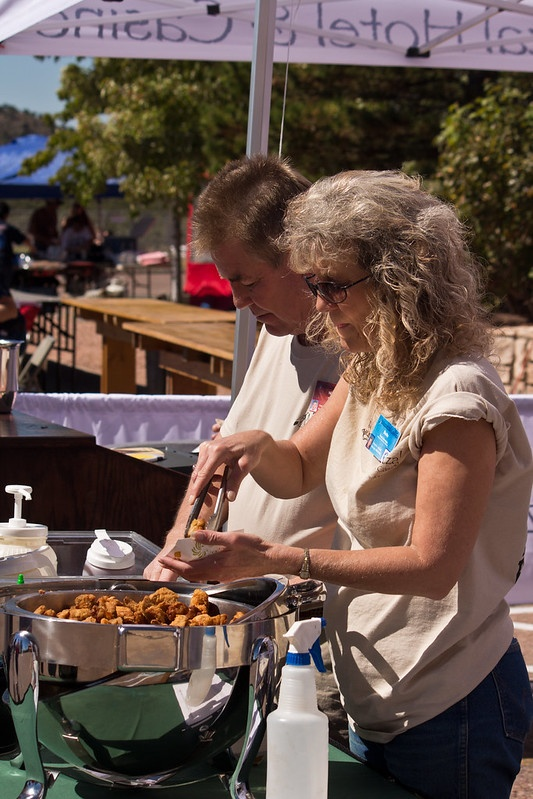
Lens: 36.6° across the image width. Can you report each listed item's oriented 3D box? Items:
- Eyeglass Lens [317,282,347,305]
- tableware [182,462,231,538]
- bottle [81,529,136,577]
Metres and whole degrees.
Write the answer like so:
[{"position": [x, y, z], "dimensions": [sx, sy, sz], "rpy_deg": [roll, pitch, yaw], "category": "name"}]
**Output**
[{"position": [0.096, -0.156, 1.170], "dimensions": [0.039, 0.011, 0.035], "rpy_deg": [4, 14, -31], "category": "Eyeglass Lens"}, {"position": [-0.100, 0.182, 1.383], "dimensions": [0.054, 0.043, 0.163], "rpy_deg": [-10, 30, 20], "category": "tableware"}, {"position": [-0.302, 0.293, 1.539], "dimensions": [0.086, 0.029, 0.140], "rpy_deg": [-1, 12, -15], "category": "bottle"}]
